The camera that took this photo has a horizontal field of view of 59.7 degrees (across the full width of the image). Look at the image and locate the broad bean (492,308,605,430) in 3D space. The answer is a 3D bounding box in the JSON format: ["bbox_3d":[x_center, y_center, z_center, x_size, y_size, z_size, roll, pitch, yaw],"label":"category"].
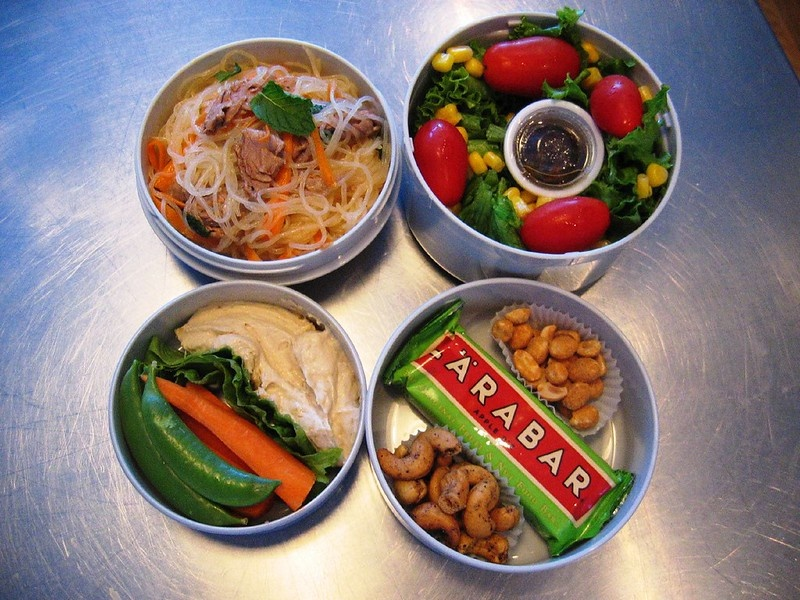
[{"bbox_3d":[0.517,0.190,2.371,0.285,0.146,0.481,-27,80,5],"label":"broad bean"}]

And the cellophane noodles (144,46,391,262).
[{"bbox_3d":[-0.507,-0.446,2.609,0.842,0.742,0.638,-23,41,-22],"label":"cellophane noodles"}]

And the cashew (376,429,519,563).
[{"bbox_3d":[0.158,0.618,2.231,0.528,0.175,0.284,40,79,13],"label":"cashew"}]
